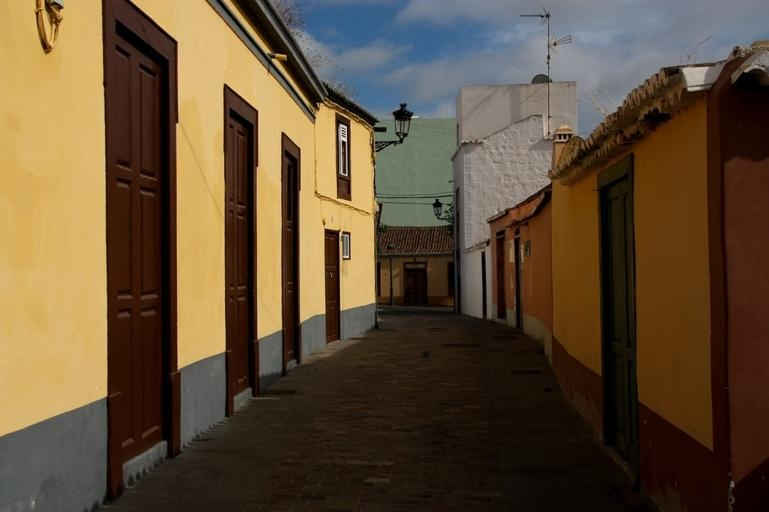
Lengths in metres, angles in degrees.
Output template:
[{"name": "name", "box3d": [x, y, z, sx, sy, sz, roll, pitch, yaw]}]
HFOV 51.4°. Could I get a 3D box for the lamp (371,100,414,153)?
[{"name": "lamp", "box3d": [0.222, -3.203, 19.484, 0.493, 1.067, 0.874, 18, 25, 29]}]
